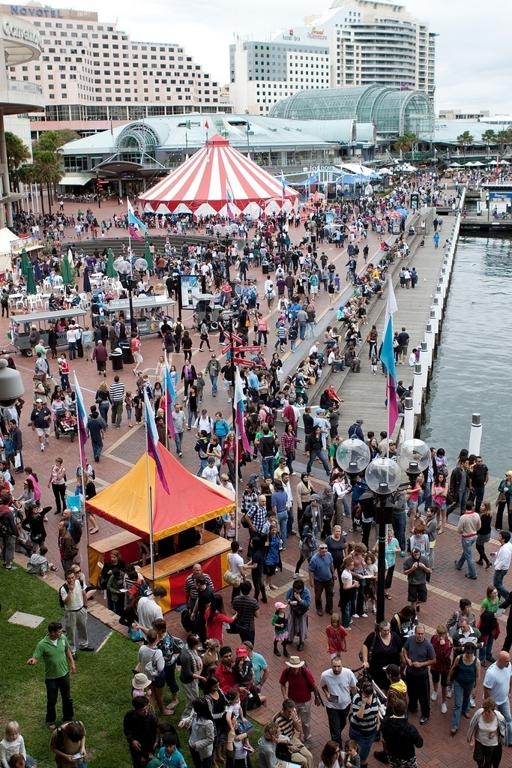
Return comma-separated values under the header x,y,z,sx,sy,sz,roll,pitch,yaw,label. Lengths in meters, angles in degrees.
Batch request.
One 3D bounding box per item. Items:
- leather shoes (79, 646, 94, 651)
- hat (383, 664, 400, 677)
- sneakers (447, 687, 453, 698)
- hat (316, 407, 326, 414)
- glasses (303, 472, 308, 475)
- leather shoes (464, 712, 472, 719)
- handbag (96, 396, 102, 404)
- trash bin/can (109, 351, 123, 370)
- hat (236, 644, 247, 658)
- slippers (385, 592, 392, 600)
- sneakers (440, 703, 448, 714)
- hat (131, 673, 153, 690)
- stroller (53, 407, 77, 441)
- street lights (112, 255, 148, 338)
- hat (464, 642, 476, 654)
x,y,z,sx,sy,sz,roll,pitch,yaw,label
-2.203,3.486,10.546,0.194,0.084,0.065,2,23,-15,leather shoes
1.359,2.878,8.089,0.124,0.091,0.170,-11,28,-13,hat
2.363,3.789,9.839,0.057,0.122,0.175,-1,4,15,sneakers
1.638,0.683,20.483,0.179,0.098,0.116,-23,26,-37,hat
0.835,1.513,13.499,0.050,0.049,0.040,-2,8,33,glasses
2.476,3.909,9.438,0.044,0.048,0.133,-3,-3,4,leather shoes
-3.875,0.405,19.975,0.104,0.146,0.139,-1,-10,-4,handbag
-4.396,-0.765,25.810,0.526,0.649,0.551,0,9,3,trash bin/can
-0.144,2.836,8.491,0.085,0.069,0.123,-2,3,3,hat
2.019,3.246,12.285,0.072,0.085,0.215,-2,0,2,slippers
2.210,3.849,9.493,0.053,0.045,0.111,-1,13,9,sneakers
-1.119,2.954,7.906,0.194,0.078,0.184,1,21,4,hat
-4.656,1.008,20.264,0.562,0.780,0.785,-6,7,-31,stroller
-4.137,-2.863,26.631,0.796,2.416,0.456,12,28,17,street lights
2.334,2.891,8.785,0.095,0.131,0.135,2,-13,21,hat
